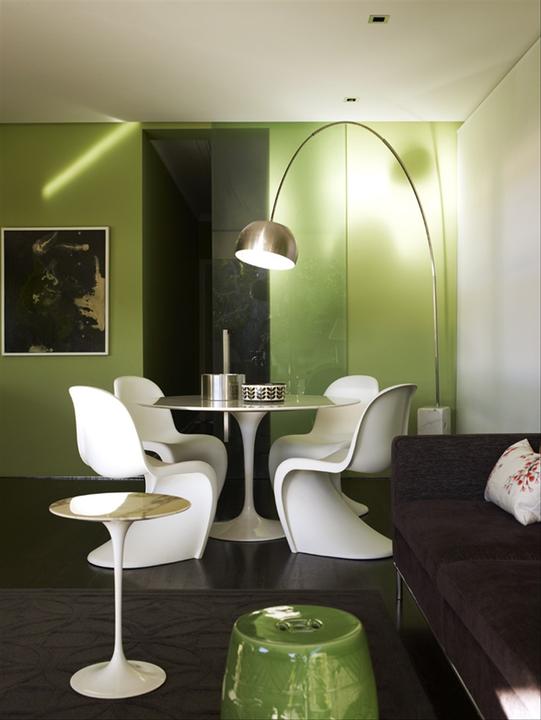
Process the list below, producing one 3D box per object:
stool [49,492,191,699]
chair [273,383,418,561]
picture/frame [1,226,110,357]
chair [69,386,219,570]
[{"bbox_3d":[-0.420,0.625,1.767,0.425,0.566,0.463,0,0,-13],"label":"stool"},{"bbox_3d":[0.282,0.576,3.554,0.521,0.835,0.473,-4,19,-9],"label":"chair"},{"bbox_3d":[-1.702,-0.511,4.705,0.876,1.255,0.050,0,-1,-2],"label":"picture/frame"},{"bbox_3d":[-0.752,0.545,3.042,0.775,1.177,0.673,0,-1,-41],"label":"chair"}]
